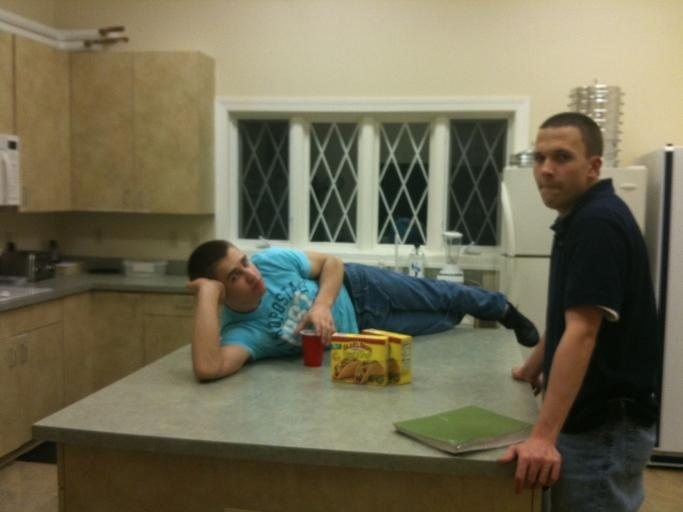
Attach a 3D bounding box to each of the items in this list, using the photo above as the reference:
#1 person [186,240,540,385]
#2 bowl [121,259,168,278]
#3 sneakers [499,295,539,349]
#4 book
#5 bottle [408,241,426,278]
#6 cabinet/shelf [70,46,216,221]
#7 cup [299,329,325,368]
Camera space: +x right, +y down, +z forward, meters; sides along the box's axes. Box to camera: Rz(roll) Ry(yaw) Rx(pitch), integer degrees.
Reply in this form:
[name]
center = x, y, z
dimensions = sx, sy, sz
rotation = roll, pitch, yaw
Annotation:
[person]
center = -0.037, 0.230, 3.057
dimensions = 1.170, 0.400, 0.746
rotation = 13, -11, -31
[bowl]
center = -1.450, 0.088, 4.796
dimensions = 0.312, 0.139, 0.180
rotation = -5, 14, -20
[sneakers]
center = 1.010, 0.387, 3.593
dimensions = 0.179, 0.205, 0.553
rotation = 40, -1, 19
[book]
center = 0.422, 0.604, 2.226
dimensions = 0.439, 0.051, 0.239
rotation = -6, 15, -22
[bottle]
center = 0.521, 0.034, 4.462
dimensions = 0.105, 0.250, 0.078
rotation = 6, 27, 14
[cabinet/shelf]
center = -1.441, -0.906, 4.632
dimensions = 1.186, 1.385, 0.440
rotation = 1, 1, 6
[cup]
center = -0.126, 0.400, 2.765
dimensions = 0.130, 0.143, 0.132
rotation = 0, -1, 0
